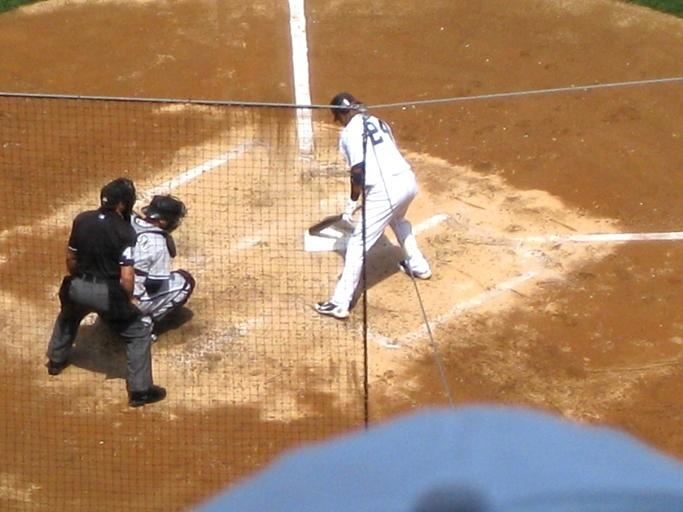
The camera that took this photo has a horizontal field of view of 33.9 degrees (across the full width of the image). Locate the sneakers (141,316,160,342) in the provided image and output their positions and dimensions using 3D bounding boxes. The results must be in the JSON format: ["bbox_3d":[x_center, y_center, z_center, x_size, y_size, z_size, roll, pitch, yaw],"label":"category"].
[{"bbox_3d":[-2.226,0.852,13.373,0.109,0.271,0.216,-18,29,-30],"label":"sneakers"}]

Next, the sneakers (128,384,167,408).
[{"bbox_3d":[-2.249,1.647,13.228,0.449,0.283,0.188,-17,59,-19],"label":"sneakers"}]

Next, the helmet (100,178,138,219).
[{"bbox_3d":[-2.593,-0.657,13.085,0.381,0.586,0.365,0,46,-12],"label":"helmet"}]

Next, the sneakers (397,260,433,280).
[{"bbox_3d":[0.962,0.190,14.422,0.396,0.156,0.191,26,74,19],"label":"sneakers"}]

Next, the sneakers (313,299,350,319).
[{"bbox_3d":[-0.080,0.646,14.066,0.511,0.195,0.173,12,36,19],"label":"sneakers"}]

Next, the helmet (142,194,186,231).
[{"bbox_3d":[-2.136,-0.504,13.623,0.604,0.398,0.414,6,1,-1],"label":"helmet"}]

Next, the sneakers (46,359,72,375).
[{"bbox_3d":[-3.382,1.336,13.475,0.247,0.216,0.142,3,20,-14],"label":"sneakers"}]
